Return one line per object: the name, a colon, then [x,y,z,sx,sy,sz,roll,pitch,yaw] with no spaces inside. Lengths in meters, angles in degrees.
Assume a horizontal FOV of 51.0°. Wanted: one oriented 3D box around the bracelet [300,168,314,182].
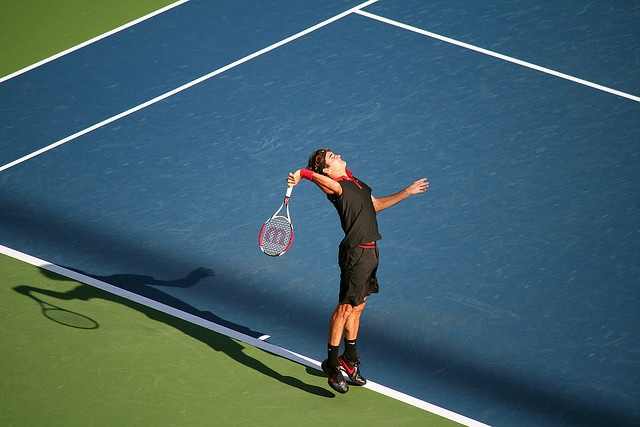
bracelet: [-0.158,-0.464,7.905,0.177,0.119,0.132,18,1,-6]
